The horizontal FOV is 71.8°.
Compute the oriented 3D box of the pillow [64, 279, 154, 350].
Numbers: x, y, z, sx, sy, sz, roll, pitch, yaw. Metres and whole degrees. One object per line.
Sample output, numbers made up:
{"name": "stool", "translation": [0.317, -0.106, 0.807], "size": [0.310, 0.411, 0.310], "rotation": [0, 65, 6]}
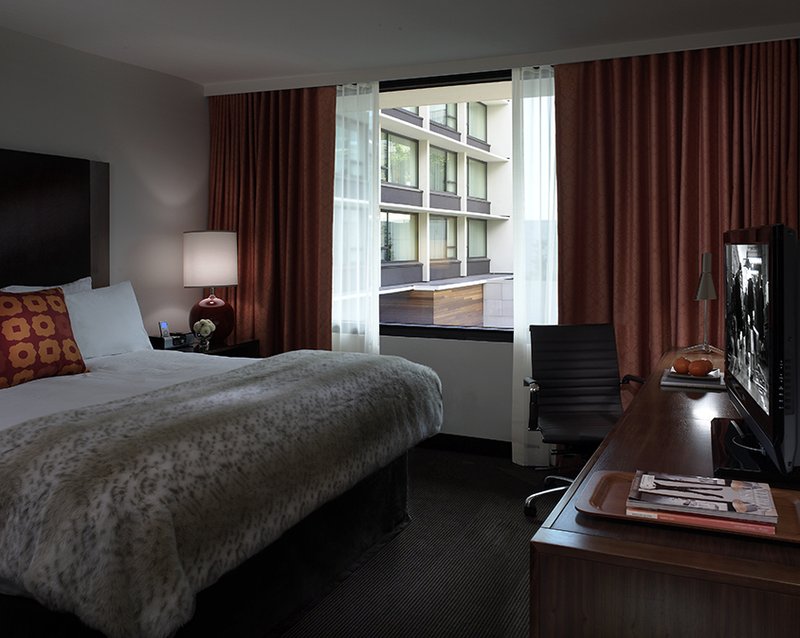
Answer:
{"name": "pillow", "translation": [-1.835, 0.014, 3.411], "size": [0.113, 0.409, 0.434], "rotation": [-16, 2, 23]}

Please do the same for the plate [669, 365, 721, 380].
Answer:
{"name": "plate", "translation": [1.383, 0.255, 2.609], "size": [0.120, 0.042, 0.133], "rotation": [0, 0, -10]}

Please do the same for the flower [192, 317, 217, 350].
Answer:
{"name": "flower", "translation": [-1.522, 0.107, 4.272], "size": [0.204, 0.304, 0.158], "rotation": [3, 0, 1]}

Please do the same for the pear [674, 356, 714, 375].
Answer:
{"name": "pear", "translation": [1.398, 0.225, 2.649], "size": [0.089, 0.076, 0.152], "rotation": [-2, 3, -22]}
